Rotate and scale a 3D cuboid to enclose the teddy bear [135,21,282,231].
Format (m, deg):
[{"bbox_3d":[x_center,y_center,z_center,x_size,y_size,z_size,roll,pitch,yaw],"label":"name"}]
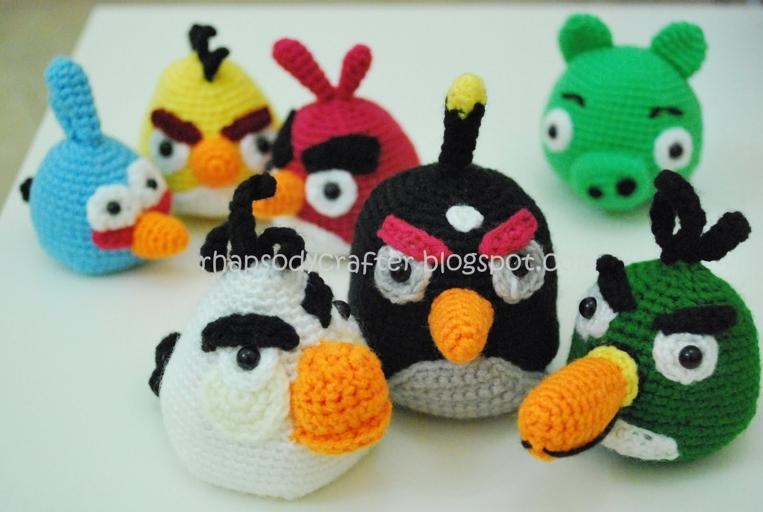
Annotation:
[{"bbox_3d":[-0.363,-0.287,1.877,0.357,0.469,0.339,-10,32,-20],"label":"teddy bear"}]

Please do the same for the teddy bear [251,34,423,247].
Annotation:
[{"bbox_3d":[-0.094,-0.215,1.752,0.304,0.398,0.349,12,31,27],"label":"teddy bear"}]

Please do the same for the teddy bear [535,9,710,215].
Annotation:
[{"bbox_3d":[0.485,-0.292,1.795,0.331,0.394,0.280,11,36,21],"label":"teddy bear"}]

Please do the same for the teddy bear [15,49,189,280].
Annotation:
[{"bbox_3d":[-0.565,-0.174,1.736,0.274,0.411,0.382,-24,45,-28],"label":"teddy bear"}]
